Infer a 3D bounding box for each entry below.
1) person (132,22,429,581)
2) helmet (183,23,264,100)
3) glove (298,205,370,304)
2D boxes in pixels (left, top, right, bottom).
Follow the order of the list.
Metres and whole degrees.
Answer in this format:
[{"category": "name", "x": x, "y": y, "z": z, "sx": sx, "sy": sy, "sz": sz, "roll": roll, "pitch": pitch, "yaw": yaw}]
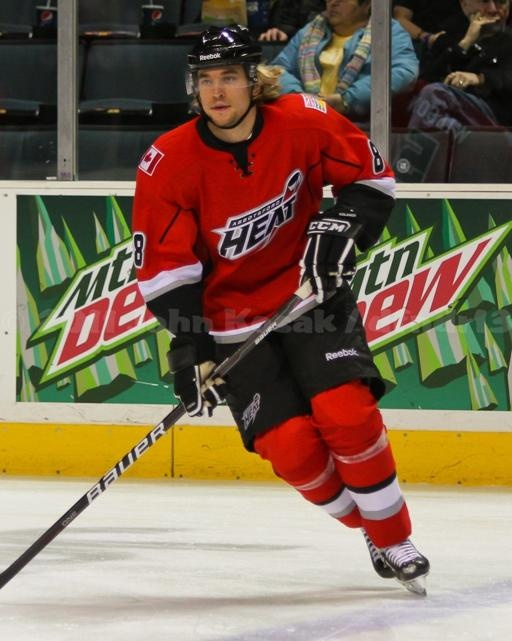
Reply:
[{"category": "person", "x": 0.037, "y": -0.043, "z": 1.979, "sx": 0.687, "sy": 0.991, "sz": 0.325, "roll": -1, "pitch": 0, "yaw": -5}, {"category": "helmet", "x": -0.061, "y": -0.665, "z": 1.990, "sx": 0.205, "sy": 0.161, "sz": 0.220, "roll": 10, "pitch": 31, "yaw": 39}, {"category": "glove", "x": 0.177, "y": -0.169, "z": 1.938, "sx": 0.182, "sy": 0.208, "sz": 0.080, "roll": 6, "pitch": 3, "yaw": 9}]
